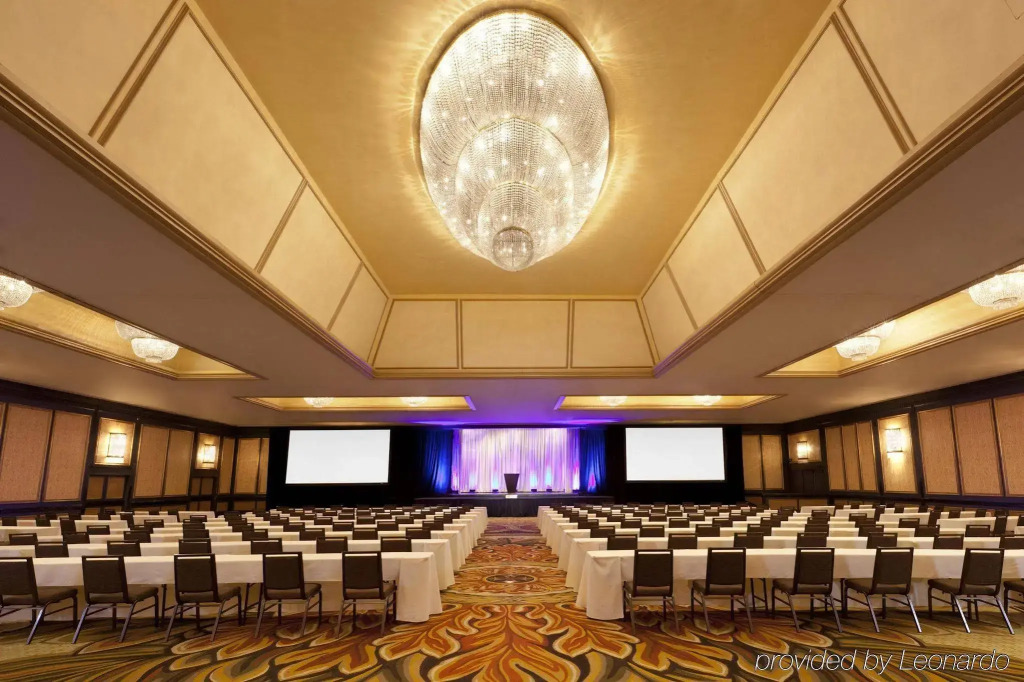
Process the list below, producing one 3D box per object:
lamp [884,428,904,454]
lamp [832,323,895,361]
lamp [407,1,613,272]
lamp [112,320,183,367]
[{"bbox_3d":[9.566,2.474,14.531,0.513,0.500,0.941,-2,-13,23],"label":"lamp"},{"bbox_3d":[5.970,0.024,9.824,0.866,0.597,0.855,1,-12,0],"label":"lamp"},{"bbox_3d":[-0.002,-1.908,5.697,1.816,2.159,1.112,0,0,6],"label":"lamp"},{"bbox_3d":[-5.903,0.008,9.397,0.902,0.610,0.587,0,0,25],"label":"lamp"}]
